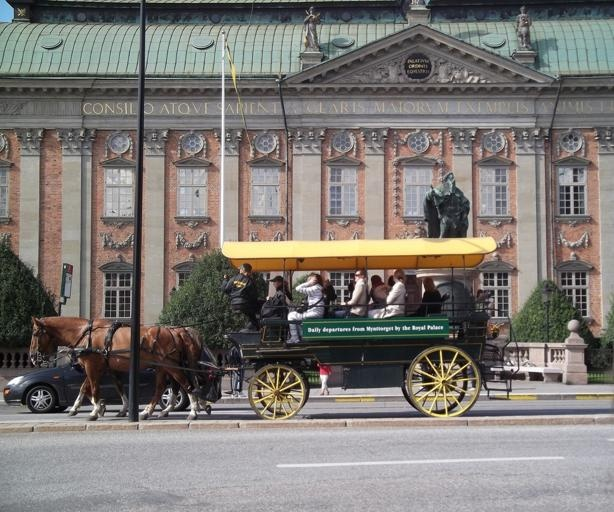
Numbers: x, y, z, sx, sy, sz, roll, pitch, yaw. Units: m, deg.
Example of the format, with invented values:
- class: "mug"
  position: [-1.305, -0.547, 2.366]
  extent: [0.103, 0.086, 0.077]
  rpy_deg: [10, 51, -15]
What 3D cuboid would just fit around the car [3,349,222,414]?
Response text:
- class: "car"
  position: [-7.491, 4.777, 57.601]
  extent: [6.901, 2.259, 3.096]
  rpy_deg: [1, -8, -3]
